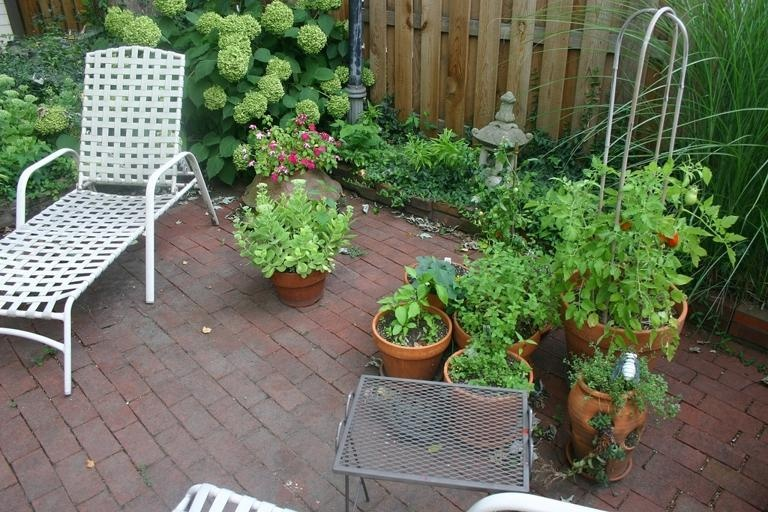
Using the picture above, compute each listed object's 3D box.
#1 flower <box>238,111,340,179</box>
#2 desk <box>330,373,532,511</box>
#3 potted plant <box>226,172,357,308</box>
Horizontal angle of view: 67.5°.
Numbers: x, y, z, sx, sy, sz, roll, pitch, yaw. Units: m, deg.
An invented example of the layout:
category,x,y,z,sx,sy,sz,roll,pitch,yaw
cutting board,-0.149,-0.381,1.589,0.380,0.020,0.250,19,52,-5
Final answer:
category,x,y,z,sx,sy,sz,roll,pitch,yaw
flower,-0.904,-0.971,5.294,0.969,0.612,0.613,-3,32,-4
desk,0.208,1.095,3.300,1.157,0.962,0.609,5,55,2
potted plant,-0.676,-0.210,4.405,0.849,0.896,0.992,-7,33,-10
